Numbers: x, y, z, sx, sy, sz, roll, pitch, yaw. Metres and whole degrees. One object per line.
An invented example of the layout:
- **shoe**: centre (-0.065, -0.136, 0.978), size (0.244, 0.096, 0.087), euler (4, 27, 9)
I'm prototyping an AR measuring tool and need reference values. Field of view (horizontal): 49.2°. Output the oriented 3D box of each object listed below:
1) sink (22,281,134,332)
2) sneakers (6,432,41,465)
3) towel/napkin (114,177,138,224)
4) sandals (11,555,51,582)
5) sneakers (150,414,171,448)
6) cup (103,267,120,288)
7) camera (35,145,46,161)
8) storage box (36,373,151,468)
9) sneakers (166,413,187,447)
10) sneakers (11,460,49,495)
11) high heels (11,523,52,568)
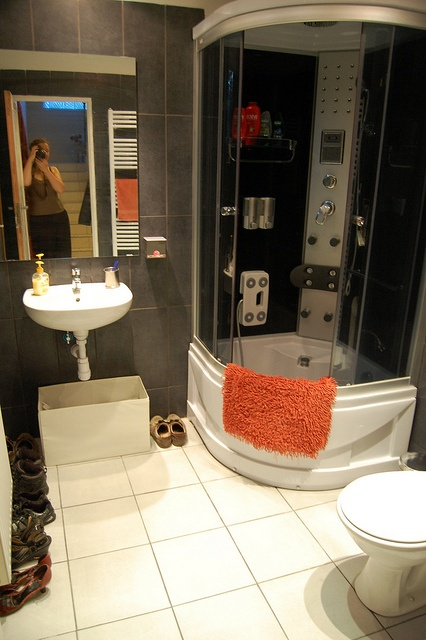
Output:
- **sink**: centre (-0.623, -0.044, 2.175), size (0.486, 0.190, 0.458), euler (-4, 14, -23)
- **sneakers**: centre (-0.894, 0.581, 2.216), size (0.139, 0.077, 0.196), euler (0, 10, -35)
- **towel/napkin**: centre (-0.427, -0.608, 2.337), size (0.104, 0.211, 0.020), euler (0, 24, -4)
- **sandals**: centre (-0.615, 0.841, 1.586), size (0.045, 0.049, 0.126), euler (3, 7, 40)
- **sneakers**: centre (-0.303, 0.622, 2.637), size (0.067, 0.076, 0.195), euler (-6, 25, -14)
- **cup**: centre (-0.497, -0.206, 2.324), size (0.076, 0.099, 0.090), euler (1, 6, 0)
- **camera**: centre (-0.779, -0.751, 2.102), size (0.030, 0.058, 0.054), euler (1, 13, -17)
- **storage box**: centre (-0.637, 0.529, 2.487), size (0.518, 0.354, 0.291), euler (-4, 17, -22)
- **sneakers**: centre (-0.205, 0.615, 2.651), size (0.064, 0.071, 0.186), euler (-4, 26, -12)
- **sneakers**: centre (-0.767, 0.646, 1.997), size (0.162, 0.179, 0.102), euler (0, 9, -19)
- **high heels**: centre (-0.643, 0.787, 1.682), size (0.070, 0.078, 0.181), euler (14, 16, 31)
